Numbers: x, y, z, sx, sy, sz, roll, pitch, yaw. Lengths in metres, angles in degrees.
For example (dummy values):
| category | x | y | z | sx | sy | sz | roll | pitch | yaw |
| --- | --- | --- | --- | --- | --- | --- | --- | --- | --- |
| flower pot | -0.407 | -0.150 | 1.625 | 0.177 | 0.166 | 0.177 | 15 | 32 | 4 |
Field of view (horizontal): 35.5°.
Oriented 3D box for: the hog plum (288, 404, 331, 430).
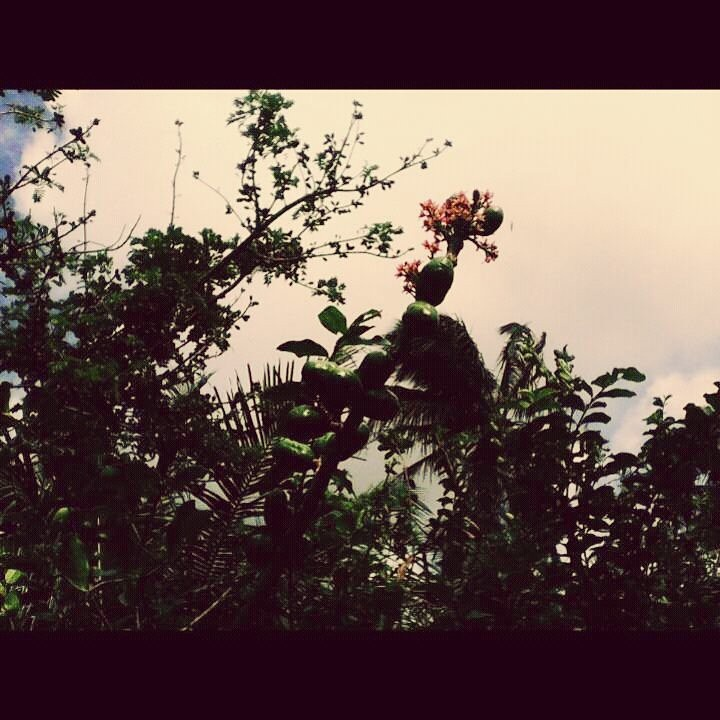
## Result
| category | x | y | z | sx | sy | sz | roll | pitch | yaw |
| --- | --- | --- | --- | --- | --- | --- | --- | --- | --- |
| hog plum | -0.128 | 0.143 | 2.818 | 0.069 | 0.044 | 0.059 | 15 | 6 | -27 |

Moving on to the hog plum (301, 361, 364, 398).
| category | x | y | z | sx | sy | sz | roll | pitch | yaw |
| --- | --- | --- | --- | --- | --- | --- | --- | --- | --- |
| hog plum | -0.075 | 0.040 | 2.841 | 0.153 | 0.101 | 0.046 | -4 | -39 | 8 |

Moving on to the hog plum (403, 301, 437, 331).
| category | x | y | z | sx | sy | sz | roll | pitch | yaw |
| --- | --- | --- | --- | --- | --- | --- | --- | --- | --- |
| hog plum | 0.156 | -0.113 | 2.945 | 0.071 | 0.085 | 0.077 | -5 | -8 | 26 |

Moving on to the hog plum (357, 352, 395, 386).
| category | x | y | z | sx | sy | sz | roll | pitch | yaw |
| --- | --- | --- | --- | --- | --- | --- | --- | --- | --- |
| hog plum | 0.042 | 0.021 | 2.852 | 0.064 | 0.098 | 0.072 | 22 | -8 | 3 |

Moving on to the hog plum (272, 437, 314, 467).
| category | x | y | z | sx | sy | sz | roll | pitch | yaw |
| --- | --- | --- | --- | --- | --- | --- | --- | --- | --- |
| hog plum | -0.163 | 0.224 | 2.815 | 0.092 | 0.056 | 0.058 | 26 | -82 | 6 |

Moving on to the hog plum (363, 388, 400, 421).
| category | x | y | z | sx | sy | sz | roll | pitch | yaw |
| --- | --- | --- | --- | --- | --- | --- | --- | --- | --- |
| hog plum | 0.056 | 0.110 | 2.849 | 0.060 | 0.062 | 0.088 | 0 | -12 | -2 |
